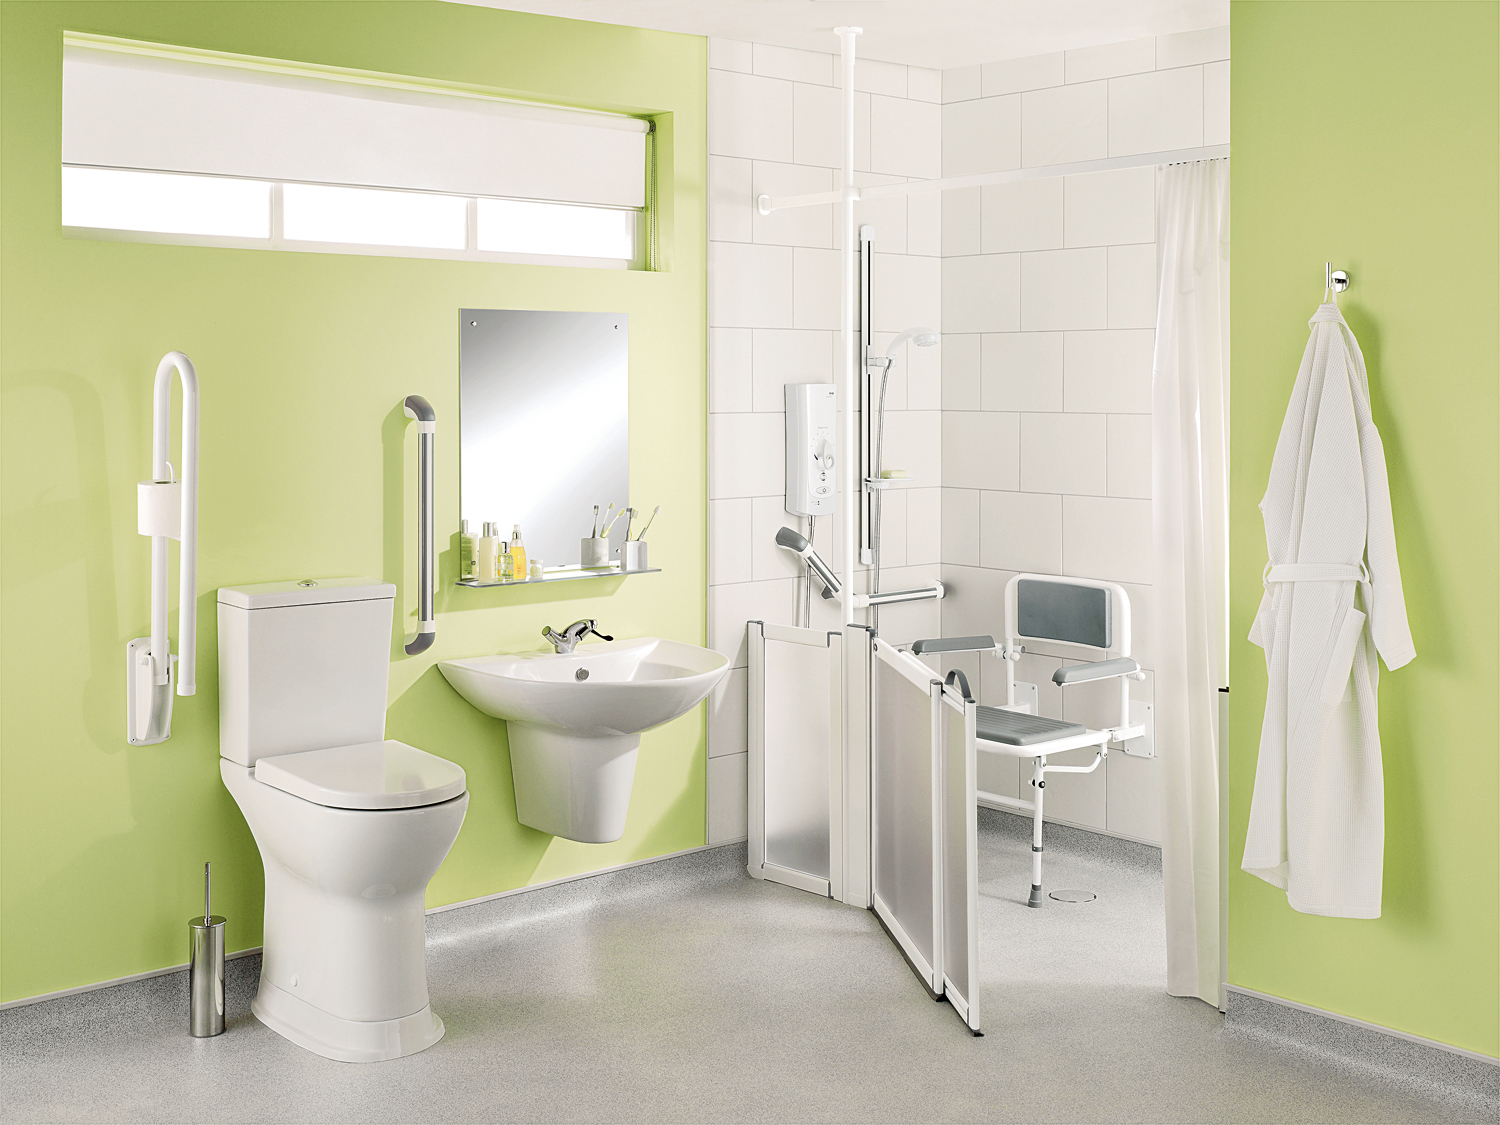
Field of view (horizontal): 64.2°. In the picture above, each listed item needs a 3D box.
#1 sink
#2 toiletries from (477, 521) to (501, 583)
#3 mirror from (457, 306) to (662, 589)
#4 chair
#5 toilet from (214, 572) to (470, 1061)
[{"bbox_3d":[-0.441,0.476,4.191,0.712,0.321,1.017,3,3,32],"label":"sink"},{"bbox_3d":[-0.887,-0.037,4.006,0.079,0.191,0.066,-2,7,-12],"label":"toiletries"},{"bbox_3d":[-0.701,-0.407,4.155,0.891,1.243,0.380,-5,7,-41],"label":"mirror"},{"bbox_3d":[1.085,0.651,4.748,0.701,1.187,0.824,-2,5,-29],"label":"chair"},{"bbox_3d":[-1.204,0.723,3.516,0.444,1.279,0.784,-7,10,-42],"label":"toilet"}]
